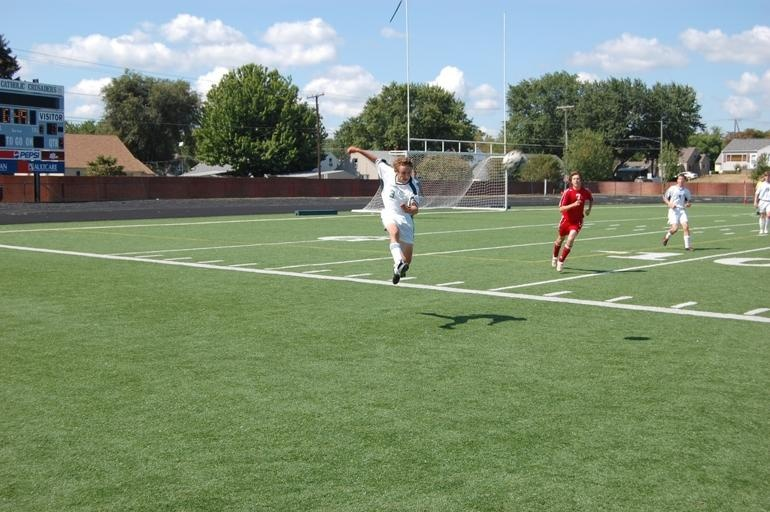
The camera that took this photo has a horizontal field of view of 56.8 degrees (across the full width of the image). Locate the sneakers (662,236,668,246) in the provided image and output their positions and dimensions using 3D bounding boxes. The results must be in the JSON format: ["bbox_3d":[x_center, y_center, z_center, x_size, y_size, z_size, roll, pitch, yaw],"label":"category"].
[{"bbox_3d":[8.092,-0.430,20.599,0.111,0.312,0.131,3,12,-2],"label":"sneakers"}]
